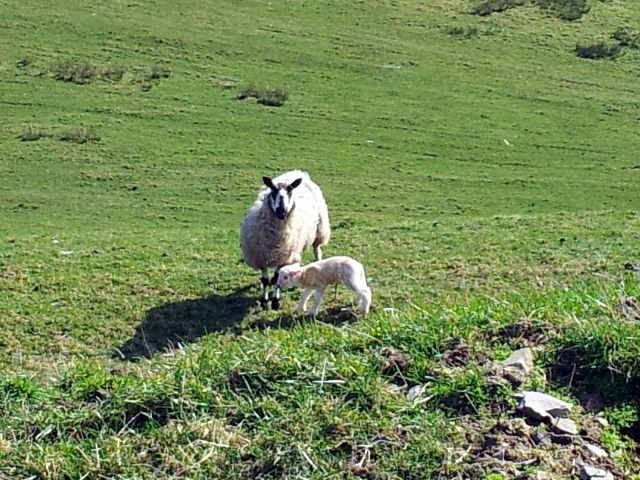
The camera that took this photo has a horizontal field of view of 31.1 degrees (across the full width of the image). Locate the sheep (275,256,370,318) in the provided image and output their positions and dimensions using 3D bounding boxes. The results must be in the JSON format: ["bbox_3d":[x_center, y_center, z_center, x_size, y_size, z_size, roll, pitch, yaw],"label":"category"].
[{"bbox_3d":[0.250,1.700,41.358,3.748,2.450,1.714,16,16,32],"label":"sheep"}]
